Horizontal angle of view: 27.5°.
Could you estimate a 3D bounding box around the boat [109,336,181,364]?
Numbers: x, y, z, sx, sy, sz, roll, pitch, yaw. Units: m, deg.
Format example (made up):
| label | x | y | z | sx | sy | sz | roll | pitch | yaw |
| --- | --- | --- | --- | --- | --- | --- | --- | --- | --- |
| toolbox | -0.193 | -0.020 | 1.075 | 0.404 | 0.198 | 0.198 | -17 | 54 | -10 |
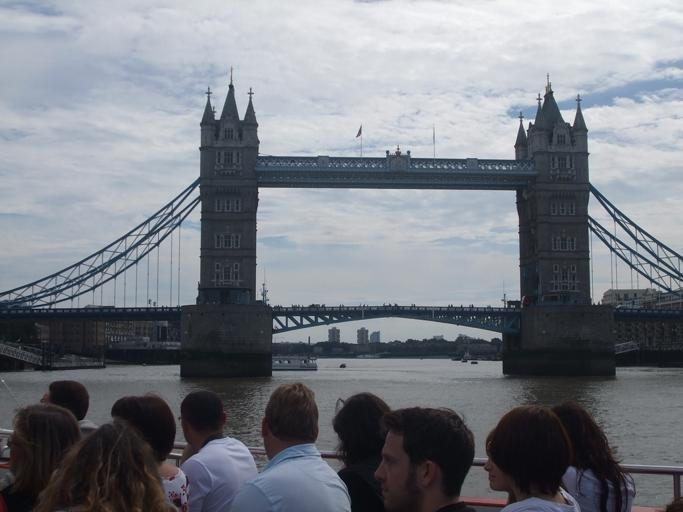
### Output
| label | x | y | z | sx | sy | sz | roll | pitch | yaw |
| --- | --- | --- | --- | --- | --- | --- | --- | --- | --- |
| boat | -23.148 | 11.176 | 162.951 | 8.015 | 3.594 | 14.997 | 1 | -8 | -9 |
